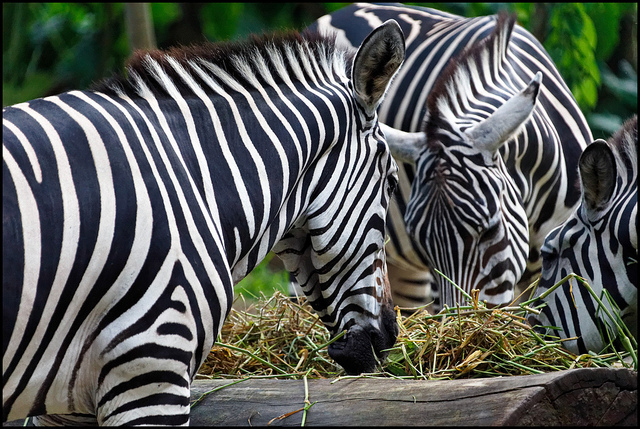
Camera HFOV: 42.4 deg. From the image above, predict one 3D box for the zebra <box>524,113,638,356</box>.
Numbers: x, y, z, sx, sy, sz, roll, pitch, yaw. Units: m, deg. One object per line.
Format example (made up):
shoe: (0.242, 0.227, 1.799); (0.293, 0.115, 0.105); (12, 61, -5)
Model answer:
zebra: (1.348, 0.149, 4.153); (0.522, 1.034, 0.738); (6, 32, 15)

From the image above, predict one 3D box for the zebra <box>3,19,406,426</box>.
zebra: (-0.560, 0.105, 3.869); (2.075, 1.486, 1.054); (-20, 35, -26)
